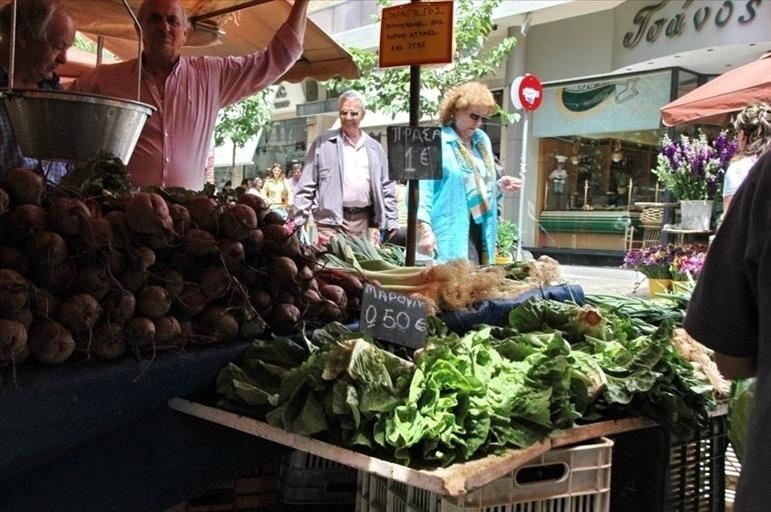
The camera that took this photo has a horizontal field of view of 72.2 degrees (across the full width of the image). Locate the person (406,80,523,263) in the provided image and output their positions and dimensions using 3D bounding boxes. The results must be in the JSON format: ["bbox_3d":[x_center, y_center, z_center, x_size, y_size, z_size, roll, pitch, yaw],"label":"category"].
[{"bbox_3d":[0.558,-0.503,3.873,0.514,1.754,0.661,3,4,39],"label":"person"}]

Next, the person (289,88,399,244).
[{"bbox_3d":[-0.330,-0.700,5.018,0.702,1.838,0.706,1,2,5],"label":"person"}]

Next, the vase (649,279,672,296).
[{"bbox_3d":[3.179,0.351,6.103,0.264,0.196,0.239,-1,3,-14],"label":"vase"}]

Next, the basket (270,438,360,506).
[{"bbox_3d":[-0.276,0.987,2.523,0.383,0.321,0.432,-5,-1,7],"label":"basket"}]

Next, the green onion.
[{"bbox_3d":[0.361,0.111,2.644,0.651,0.194,0.666,3,2,43],"label":"green onion"}]

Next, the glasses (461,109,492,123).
[{"bbox_3d":[0.626,-1.012,3.836,0.121,0.035,0.119,2,41,-25],"label":"glasses"}]

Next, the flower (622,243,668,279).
[{"bbox_3d":[3.444,0.066,6.928,0.507,0.356,0.480,-2,0,-41],"label":"flower"}]

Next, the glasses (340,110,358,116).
[{"bbox_3d":[-0.327,-1.318,4.875,0.153,0.047,0.041,3,6,-3],"label":"glasses"}]

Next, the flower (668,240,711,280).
[{"bbox_3d":[3.151,0.044,5.532,0.481,0.480,0.455,-3,6,-33],"label":"flower"}]

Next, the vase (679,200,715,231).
[{"bbox_3d":[4.518,-0.598,7.780,0.514,0.388,0.458,1,-2,6],"label":"vase"}]
